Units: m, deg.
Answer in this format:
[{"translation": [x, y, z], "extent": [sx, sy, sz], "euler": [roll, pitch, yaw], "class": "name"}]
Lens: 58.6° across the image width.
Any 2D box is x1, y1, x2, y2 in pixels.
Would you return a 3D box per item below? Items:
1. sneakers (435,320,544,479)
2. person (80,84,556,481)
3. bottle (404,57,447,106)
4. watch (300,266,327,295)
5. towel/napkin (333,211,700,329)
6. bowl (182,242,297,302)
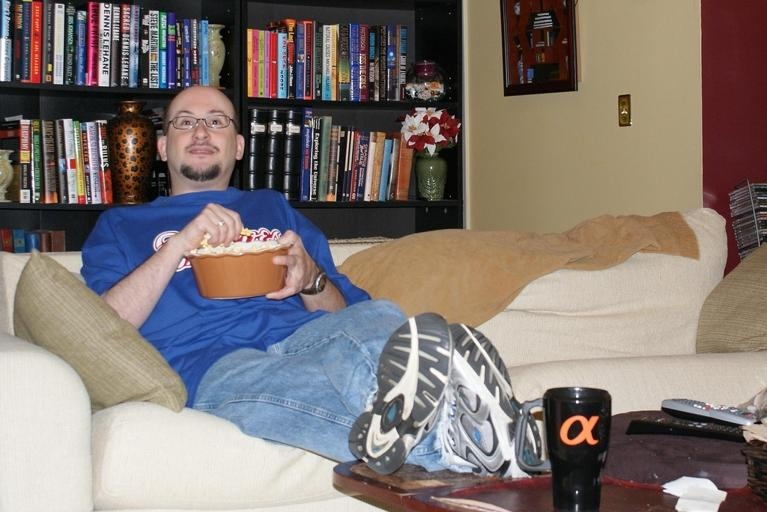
[{"translation": [0.191, 0.297, 1.349], "extent": [0.139, 0.352, 0.167], "euler": [-20, -16, 3], "class": "sneakers"}, {"translation": [-0.287, 0.050, 1.836], "extent": [0.678, 0.762, 1.339], "euler": [-7, 14, -40], "class": "person"}, {"translation": [0.194, -0.831, 3.270], "extent": [0.213, 0.182, 0.205], "euler": [1, 5, 11], "class": "bottle"}, {"translation": [-0.193, 0.077, 2.022], "extent": [0.079, 0.045, 0.067], "euler": [-27, 9, 29], "class": "watch"}, {"translation": [0.419, 0.017, 2.212], "extent": [0.669, 0.184, 0.520], "euler": [-12, 5, -15], "class": "towel/napkin"}, {"translation": [-0.390, 0.040, 1.832], "extent": [0.292, 0.125, 0.282], "euler": [3, 0, 0], "class": "bowl"}]
